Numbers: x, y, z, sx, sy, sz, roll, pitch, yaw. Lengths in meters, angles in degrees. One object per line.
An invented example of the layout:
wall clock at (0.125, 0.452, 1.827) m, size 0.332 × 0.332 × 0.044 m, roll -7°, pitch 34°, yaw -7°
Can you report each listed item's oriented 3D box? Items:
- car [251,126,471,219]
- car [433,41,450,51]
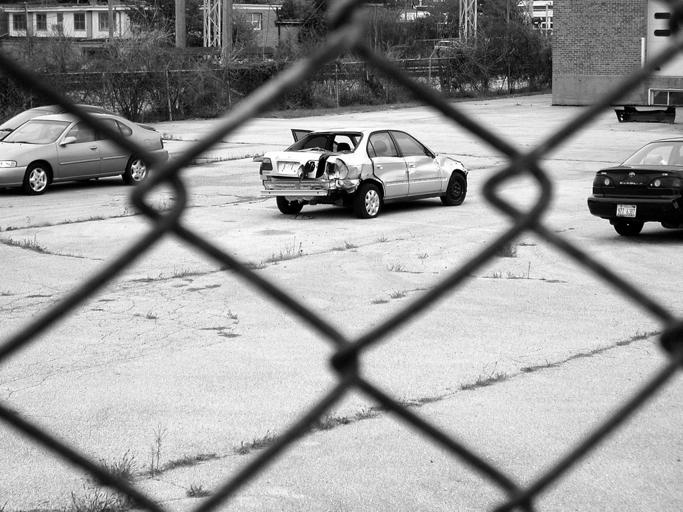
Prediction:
car at (0.459, -1.737, 14.399) m, size 4.132 × 1.716 × 1.470 m, roll -5°, pitch 13°, yaw -24°
car at (6.929, -14.582, 48.578) m, size 0.951 × 0.709 × 1.578 m, roll 2°, pitch 13°, yaw 8°
